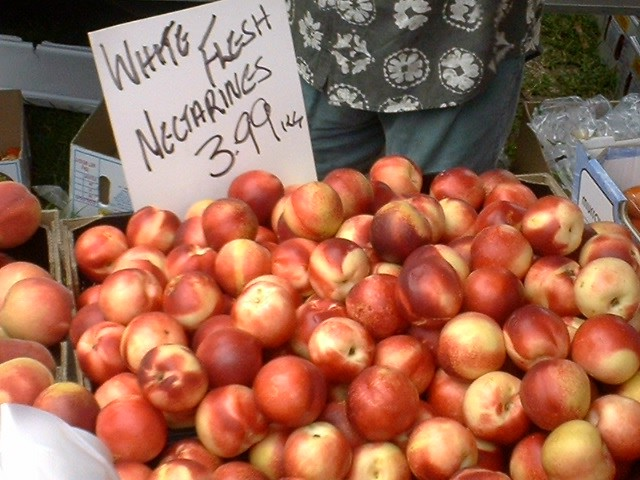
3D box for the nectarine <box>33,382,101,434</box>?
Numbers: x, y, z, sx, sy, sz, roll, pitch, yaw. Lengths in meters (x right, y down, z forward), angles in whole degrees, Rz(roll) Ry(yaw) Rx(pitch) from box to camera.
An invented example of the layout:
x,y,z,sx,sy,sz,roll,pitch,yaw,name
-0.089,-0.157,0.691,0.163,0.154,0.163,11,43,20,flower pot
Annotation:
x,y,z,sx,sy,sz,roll,pitch,yaw,name
-0.557,0.365,1.213,0.139,0.074,0.092,15,41,12,nectarine
